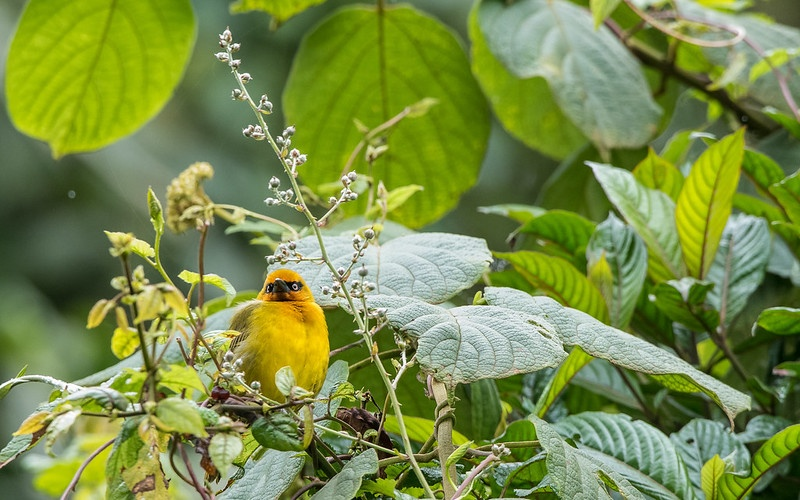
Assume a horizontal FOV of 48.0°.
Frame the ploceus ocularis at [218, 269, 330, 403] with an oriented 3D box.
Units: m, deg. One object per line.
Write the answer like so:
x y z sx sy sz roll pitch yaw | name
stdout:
-0.557 0.417 3.783 0.417 0.607 0.579 11 -25 -29 | ploceus ocularis
